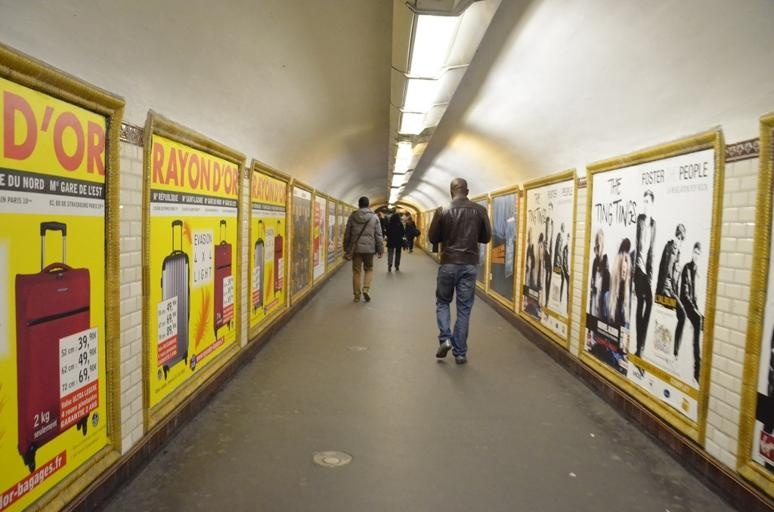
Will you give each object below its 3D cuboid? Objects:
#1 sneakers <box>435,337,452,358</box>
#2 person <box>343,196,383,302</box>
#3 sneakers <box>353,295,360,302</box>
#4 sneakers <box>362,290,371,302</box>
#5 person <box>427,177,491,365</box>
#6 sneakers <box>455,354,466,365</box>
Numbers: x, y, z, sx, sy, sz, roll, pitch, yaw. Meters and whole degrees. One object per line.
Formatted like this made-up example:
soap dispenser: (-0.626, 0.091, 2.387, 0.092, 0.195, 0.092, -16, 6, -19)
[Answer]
sneakers: (0.762, 1.251, 6.122, 0.124, 0.161, 0.360, 8, -31, -2)
person: (-0.481, -0.132, 9.991, 0.749, 2.309, 0.826, 8, 12, 38)
sneakers: (-0.654, 0.972, 9.996, 0.123, 0.146, 0.223, 2, -8, 2)
sneakers: (-0.445, 0.881, 9.961, 0.126, 0.284, 0.130, -1, 25, 5)
person: (0.936, 0.308, 6.145, 0.786, 2.151, 0.691, 2, 9, 7)
sneakers: (0.975, 1.359, 6.033, 0.109, 0.122, 0.119, 7, 7, 41)
